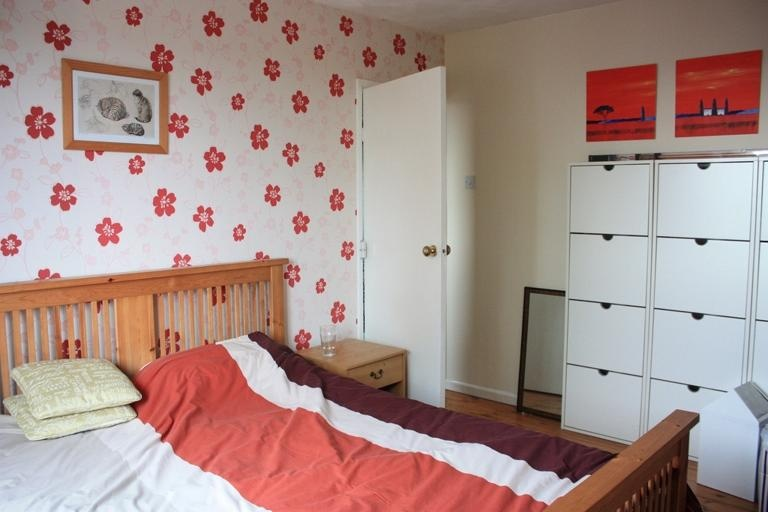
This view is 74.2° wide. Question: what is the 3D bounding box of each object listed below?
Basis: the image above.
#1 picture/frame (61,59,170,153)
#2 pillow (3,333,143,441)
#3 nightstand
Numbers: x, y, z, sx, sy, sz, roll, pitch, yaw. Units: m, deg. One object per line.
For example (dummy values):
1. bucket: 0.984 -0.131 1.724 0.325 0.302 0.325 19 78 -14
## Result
1. picture/frame: -1.625 -0.891 3.017 0.608 0.521 0.045 -3 9 -39
2. pillow: -1.656 0.626 2.683 0.484 0.250 0.439 -2 21 -45
3. nightstand: -0.229 0.777 3.767 0.519 0.501 0.504 6 11 35
